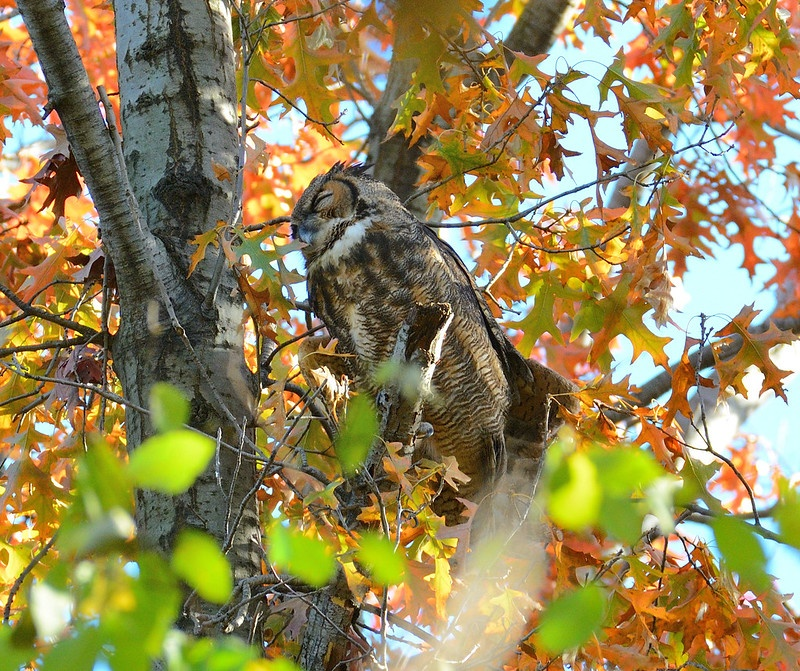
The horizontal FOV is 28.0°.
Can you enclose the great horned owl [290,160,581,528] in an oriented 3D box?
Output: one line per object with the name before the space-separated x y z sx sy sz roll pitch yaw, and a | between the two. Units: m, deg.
great horned owl | 0.145 0.023 6.863 1.307 1.501 0.707 19 -42 -31
